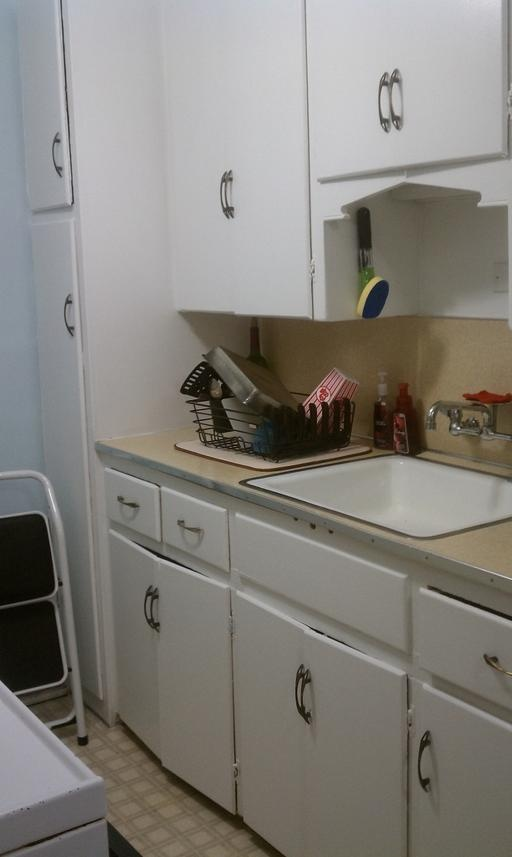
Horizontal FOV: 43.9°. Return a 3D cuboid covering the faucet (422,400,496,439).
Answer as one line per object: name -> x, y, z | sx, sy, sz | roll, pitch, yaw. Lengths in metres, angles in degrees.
faucet -> 0.505, -0.021, 1.566 | 0.149, 0.097, 0.254 | 2, 5, 21

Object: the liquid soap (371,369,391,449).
liquid soap -> 0.357, -0.050, 1.805 | 0.048, 0.217, 0.046 | 1, 4, 10

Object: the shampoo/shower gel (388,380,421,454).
shampoo/shower gel -> 0.410, -0.030, 1.755 | 0.081, 0.192, 0.094 | 2, 5, 25
